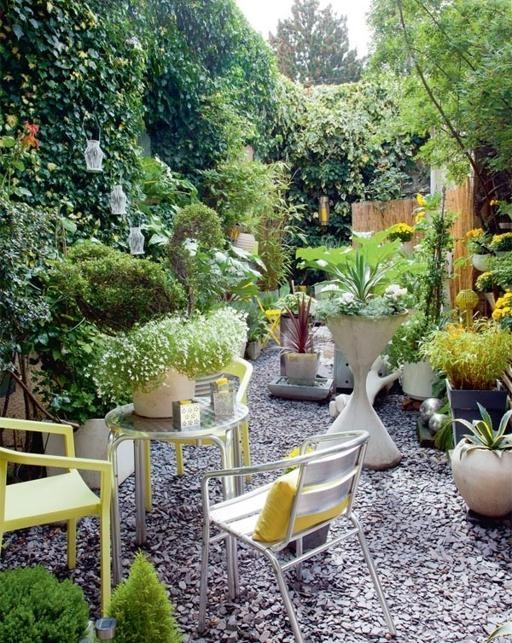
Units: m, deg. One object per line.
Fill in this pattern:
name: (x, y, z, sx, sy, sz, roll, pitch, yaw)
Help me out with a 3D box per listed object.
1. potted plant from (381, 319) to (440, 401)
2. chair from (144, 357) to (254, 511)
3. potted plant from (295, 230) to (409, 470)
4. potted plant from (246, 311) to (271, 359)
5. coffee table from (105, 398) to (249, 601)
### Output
potted plant: (1.424, 0.271, 4.227, 0.501, 0.748, 0.611, 1, -5, 27)
chair: (-0.339, 0.623, 2.730, 0.593, 0.678, 0.605, 3, 7, 42)
potted plant: (0.638, 0.145, 3.226, 0.691, 1.549, 1.834, 1, 4, 17)
potted plant: (-0.066, 0.219, 6.708, 0.402, 0.521, 0.385, 0, 2, 28)
coffee table: (-0.278, 0.673, 2.080, 0.662, 0.731, 0.604, 0, 4, 5)
